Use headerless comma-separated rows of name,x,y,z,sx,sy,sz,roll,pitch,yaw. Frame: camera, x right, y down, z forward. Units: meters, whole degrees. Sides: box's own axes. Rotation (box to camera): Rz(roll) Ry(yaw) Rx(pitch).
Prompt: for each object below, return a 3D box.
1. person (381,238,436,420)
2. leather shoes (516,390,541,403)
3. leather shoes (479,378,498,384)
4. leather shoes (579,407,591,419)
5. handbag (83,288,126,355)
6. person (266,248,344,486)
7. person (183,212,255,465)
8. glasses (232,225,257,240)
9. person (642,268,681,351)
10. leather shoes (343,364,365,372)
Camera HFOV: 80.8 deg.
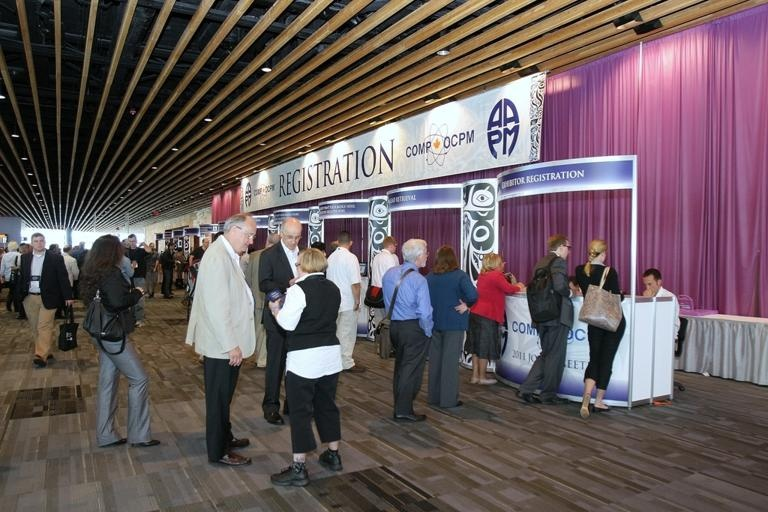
person,0.228,0.773,4.669,0.532,1.862,0.361,1,3,12
leather shoes,1.679,1.630,5.226,0.291,0.126,0.105,-2,3,-22
leather shoes,1.360,1.642,5.879,0.188,0.071,0.096,-1,2,-25
leather shoes,2.148,1.666,4.826,0.072,0.157,0.109,-3,9,9
handbag,-2.436,0.590,3.898,0.356,0.564,0.126,0,3,0
person,-0.569,0.869,3.591,0.263,1.828,0.526,3,4,42
person,-1.343,0.717,3.730,0.525,2.102,0.365,0,3,-17
glasses,-1.209,-0.194,3.856,0.159,0.160,0.130,0,16,-21
person,3.566,0.731,5.819,0.411,1.068,1.718,2,4,32
leather shoes,-0.422,1.620,6.396,0.286,0.123,0.118,0,0,-13
